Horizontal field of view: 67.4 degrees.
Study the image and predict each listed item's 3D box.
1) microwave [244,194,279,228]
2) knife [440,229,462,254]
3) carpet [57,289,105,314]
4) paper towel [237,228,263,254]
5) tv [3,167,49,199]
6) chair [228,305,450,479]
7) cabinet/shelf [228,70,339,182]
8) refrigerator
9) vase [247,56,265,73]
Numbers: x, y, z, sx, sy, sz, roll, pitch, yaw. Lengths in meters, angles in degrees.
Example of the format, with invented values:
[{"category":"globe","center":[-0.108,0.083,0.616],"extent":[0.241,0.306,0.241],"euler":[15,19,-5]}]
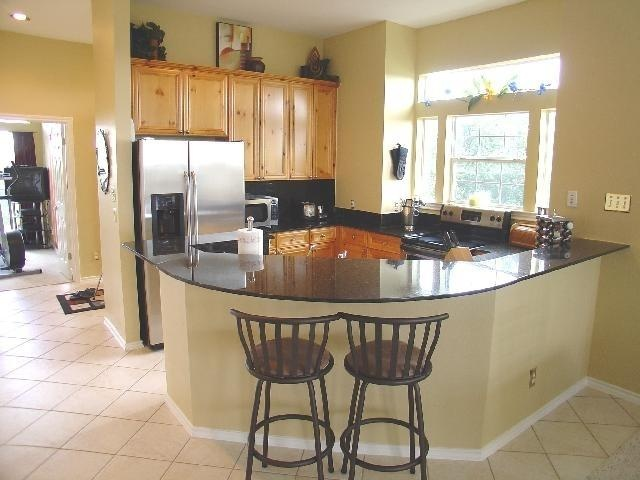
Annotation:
[{"category":"microwave","center":[-0.699,-0.348,5.689],"extent":[0.466,0.391,0.276],"euler":[-5,12,-24]},{"category":"knife","center":[1.193,-0.008,4.411],"extent":[0.224,0.092,0.388],"euler":[-2,-17,6]},{"category":"carpet","center":[-3.091,0.798,6.205],"extent":[0.423,0.057,0.487],"euler":[-4,15,-34]},{"category":"paper towel","center":[-0.575,0.003,3.777],"extent":[0.192,0.212,0.190],"euler":[-1,3,-33]},{"category":"tv","center":[-5.216,-0.997,8.611],"extent":[0.661,0.662,0.578],"euler":[-6,13,-30]},{"category":"chair","center":[0.181,0.993,3.171],"extent":[1.078,1.085,0.511],"euler":[0,22,1]},{"category":"cabinet/shelf","center":[-0.503,-1.460,5.947],"extent":[1.532,1.338,0.533],"euler":[-4,10,-29]},{"category":"refrigerator","center":[-1.161,0.103,4.583],"extent":[1.139,2.101,1.020],"euler":[-4,12,-22]},{"category":"vase","center":[-0.755,-2.118,5.841],"extent":[0.204,0.246,0.204],"euler":[-1,4,-1]}]
